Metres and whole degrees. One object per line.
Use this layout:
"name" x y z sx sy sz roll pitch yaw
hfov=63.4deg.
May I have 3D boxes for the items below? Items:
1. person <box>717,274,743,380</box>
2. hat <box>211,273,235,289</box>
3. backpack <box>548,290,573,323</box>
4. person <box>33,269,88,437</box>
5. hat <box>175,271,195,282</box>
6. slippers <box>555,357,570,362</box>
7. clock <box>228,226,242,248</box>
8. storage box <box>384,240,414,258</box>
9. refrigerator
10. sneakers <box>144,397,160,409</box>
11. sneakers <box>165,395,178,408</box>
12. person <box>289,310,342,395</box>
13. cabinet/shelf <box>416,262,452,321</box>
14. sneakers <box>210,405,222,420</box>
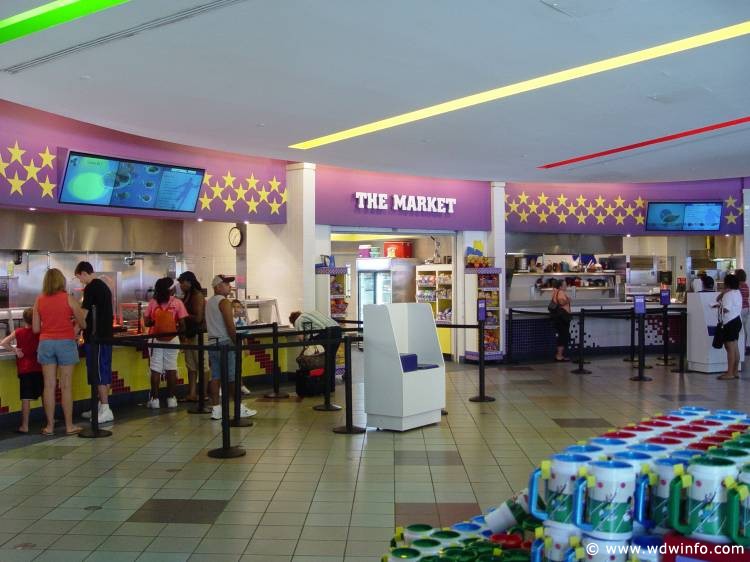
"person" 5.872 0.748 10.091 0.330 1.705 0.565 0 1 38
"hat" -2.100 0.004 8.324 0.374 0.133 0.227 -10 8 -21
"backpack" 3.617 0.529 11.877 0.303 0.494 0.452 -18 43 -13
"person" -3.494 0.779 6.696 0.478 1.819 0.285 -1 1 -27
"hat" -2.643 -0.071 8.458 0.215 0.152 0.147 -7 11 -21
"slippers" 3.698 1.554 11.936 0.212 0.069 0.113 -1 1 0
"clock" -2.483 -0.774 10.807 0.395 0.432 0.062 -2 -5 41
"storage box" 0.577 -0.767 15.314 0.781 0.491 0.434 -2 -3 43
"refrigerator" 0.162 0.145 14.694 1.605 1.394 0.708 1 1 42
"sneakers" -2.925 1.603 7.981 0.095 0.101 0.246 0 3 -18
"sneakers" -2.700 1.614 8.077 0.092 0.090 0.210 0 -5 -5
"person" -0.840 1.062 8.530 0.716 1.227 2.913 0 2 -7
"cabinet/shelf" 1.169 0.210 11.711 0.375 1.168 1.175 -1 -2 -27
"sneakers" -1.935 1.584 7.374 0.111 0.190 0.272 -1 1 -19
